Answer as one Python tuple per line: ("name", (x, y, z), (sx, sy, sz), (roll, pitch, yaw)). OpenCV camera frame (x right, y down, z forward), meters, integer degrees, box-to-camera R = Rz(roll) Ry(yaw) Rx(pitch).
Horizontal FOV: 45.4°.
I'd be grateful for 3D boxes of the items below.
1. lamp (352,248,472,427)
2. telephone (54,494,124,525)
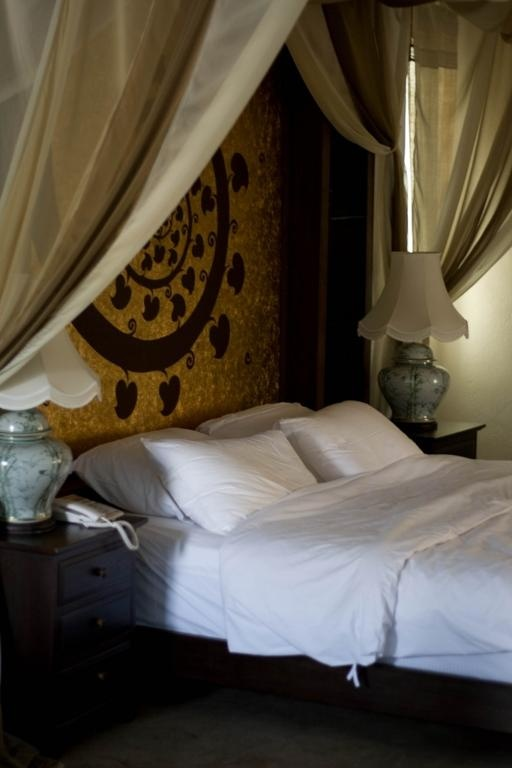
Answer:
("lamp", (0.871, -0.268, 3.450), (0.606, 0.976, 0.420), (4, 6, 6))
("telephone", (-0.444, 0.327, 1.596), (0.111, 0.029, 0.086), (7, 5, 26))
